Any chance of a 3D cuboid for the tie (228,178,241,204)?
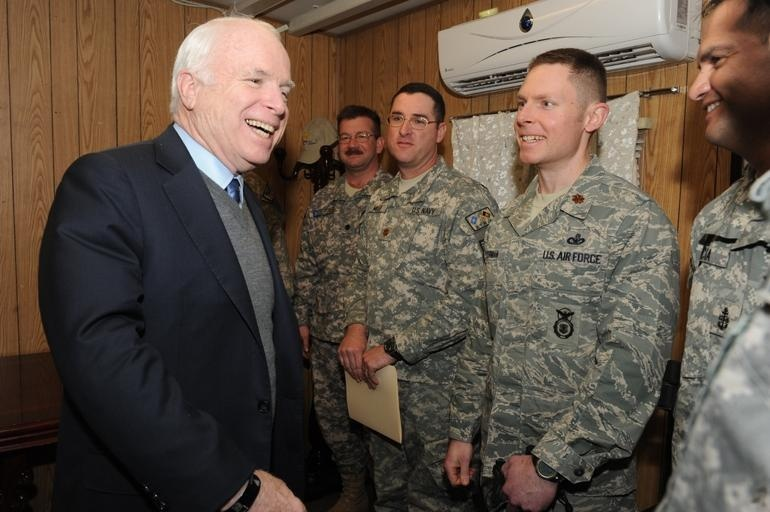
[{"bbox_3d":[-0.528,-0.226,2.125,0.026,0.074,0.054,0,6,18],"label":"tie"}]
